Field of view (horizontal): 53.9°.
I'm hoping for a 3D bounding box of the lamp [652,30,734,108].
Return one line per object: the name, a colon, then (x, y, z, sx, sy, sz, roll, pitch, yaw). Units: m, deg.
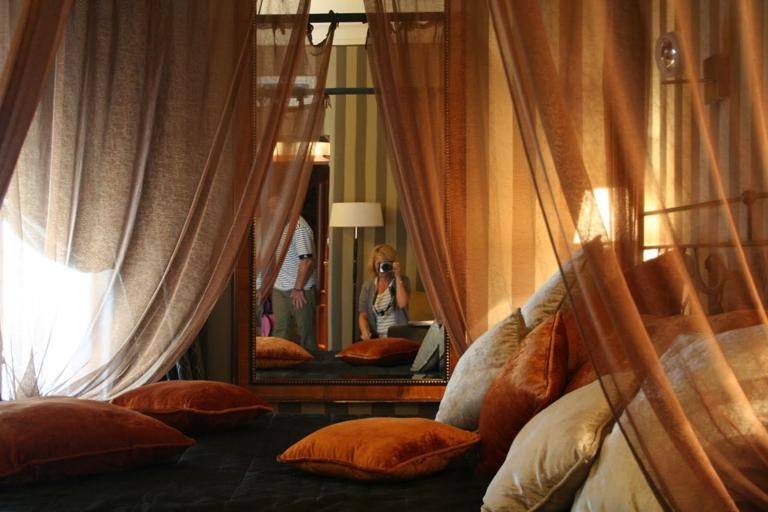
lamp: (0.548, -0.323, 1.347, 0.128, 0.082, 0.108, 7, -44, 1)
